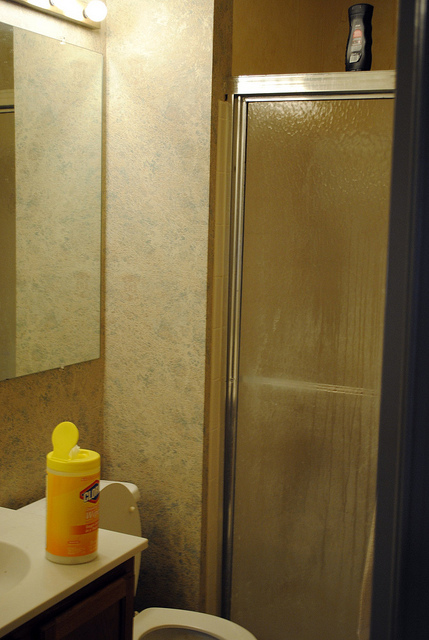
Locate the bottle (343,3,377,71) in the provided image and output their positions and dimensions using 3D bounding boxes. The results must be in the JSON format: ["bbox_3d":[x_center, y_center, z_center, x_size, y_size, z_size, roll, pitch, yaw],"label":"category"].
[{"bbox_3d":[0.440,-0.841,1.693,0.075,0.203,0.115,2,0,10],"label":"bottle"}]
